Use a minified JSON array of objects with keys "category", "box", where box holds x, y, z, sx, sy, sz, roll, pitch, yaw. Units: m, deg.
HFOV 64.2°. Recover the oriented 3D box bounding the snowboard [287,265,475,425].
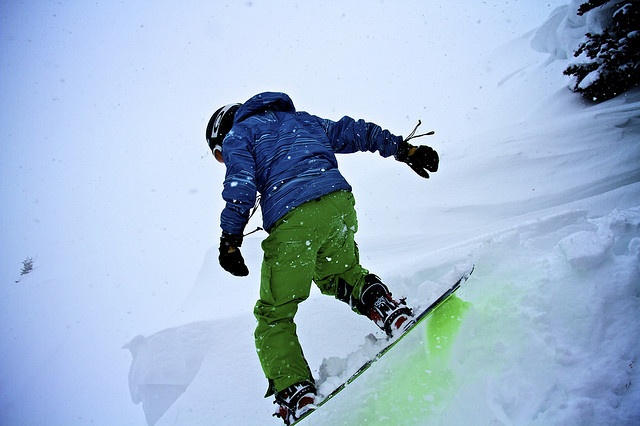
[{"category":"snowboard","box":[0.815,1.796,6.769,3.414,0.191,0.393,-47,20,-9]}]
